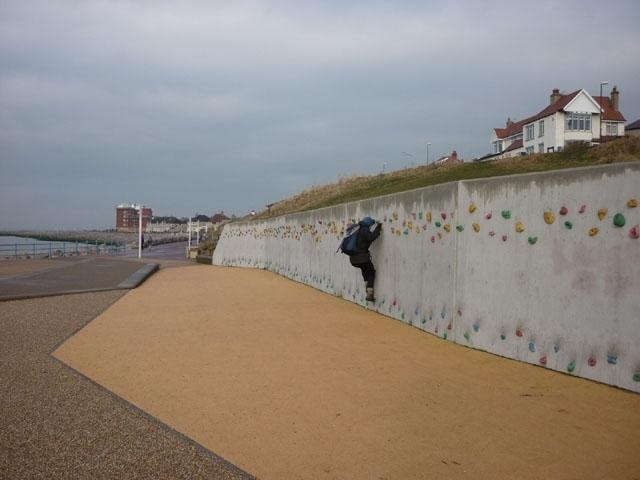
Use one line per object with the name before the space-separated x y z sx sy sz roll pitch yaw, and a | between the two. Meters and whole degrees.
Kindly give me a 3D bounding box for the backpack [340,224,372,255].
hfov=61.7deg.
backpack | 0.742 0.061 12.541 0.427 0.850 0.563 21 -15 -33
